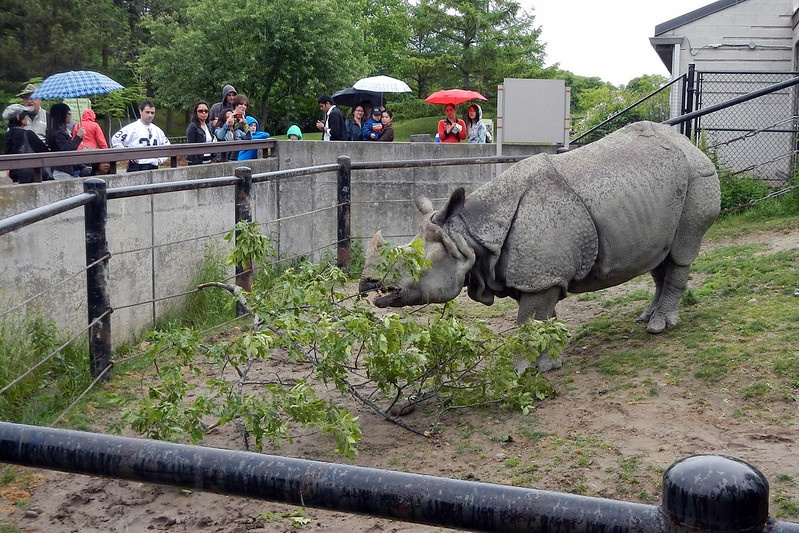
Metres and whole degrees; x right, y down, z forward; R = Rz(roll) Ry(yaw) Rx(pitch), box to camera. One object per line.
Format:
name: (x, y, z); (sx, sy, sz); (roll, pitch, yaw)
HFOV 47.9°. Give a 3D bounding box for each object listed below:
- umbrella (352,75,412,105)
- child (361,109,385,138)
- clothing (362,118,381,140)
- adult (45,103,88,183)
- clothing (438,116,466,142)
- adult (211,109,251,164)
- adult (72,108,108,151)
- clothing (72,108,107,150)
umbrella: (-0.405, -3.589, 17.882); (0.783, 0.272, 0.769); (-3, 3, -35)
child: (-0.446, -2.378, 15.080); (0.413, 0.579, 0.317); (-15, 17, -32)
clothing: (-0.465, -2.290, 15.103); (0.354, 0.342, 0.215); (-14, 13, -28)
adult: (-4.269, -1.341, 11.513); (0.462, 1.473, 0.503); (-3, 21, -30)
clothing: (0.845, -2.229, 15.135); (0.457, 0.594, 0.395); (1, 1, 37)
adult: (-2.422, -1.910, 13.676); (0.538, 0.972, 0.539); (-4, 2, 35)
adult: (-4.349, -1.855, 12.594); (0.409, 0.653, 0.462); (0, 6, 6)
clothing: (-4.348, -1.845, 12.592); (0.398, 0.665, 0.454); (-1, 3, 2)
